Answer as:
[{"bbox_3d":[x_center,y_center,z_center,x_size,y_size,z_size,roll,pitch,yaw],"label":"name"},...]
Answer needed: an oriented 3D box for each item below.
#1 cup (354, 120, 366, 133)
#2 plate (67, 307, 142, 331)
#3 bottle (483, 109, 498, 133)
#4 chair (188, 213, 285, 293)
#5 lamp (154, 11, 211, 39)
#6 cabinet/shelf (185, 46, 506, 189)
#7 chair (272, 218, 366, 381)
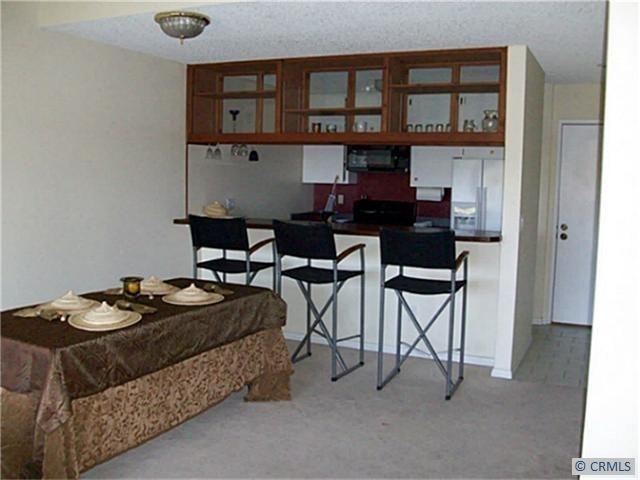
[{"bbox_3d":[0.389,-1.115,5.093,0.102,0.118,0.338,2,9,4],"label":"cup"},{"bbox_3d":[-1.225,0.421,2.940,0.396,0.116,0.328,-2,9,-19],"label":"plate"},{"bbox_3d":[1.557,-1.095,4.725,0.125,0.228,0.514,4,9,15],"label":"bottle"},{"bbox_3d":[-0.808,0.044,4.808,0.737,1.068,0.758,2,5,21],"label":"chair"},{"bbox_3d":[-1.000,-1.553,3.734,0.376,0.188,0.233,-1,10,-17],"label":"lamp"},{"bbox_3d":[0.540,-1.640,6.327,3.370,1.073,3.066,5,9,19],"label":"cabinet/shelf"},{"bbox_3d":[0.016,0.466,4.646,0.883,1.350,1.060,1,9,-3],"label":"chair"}]
